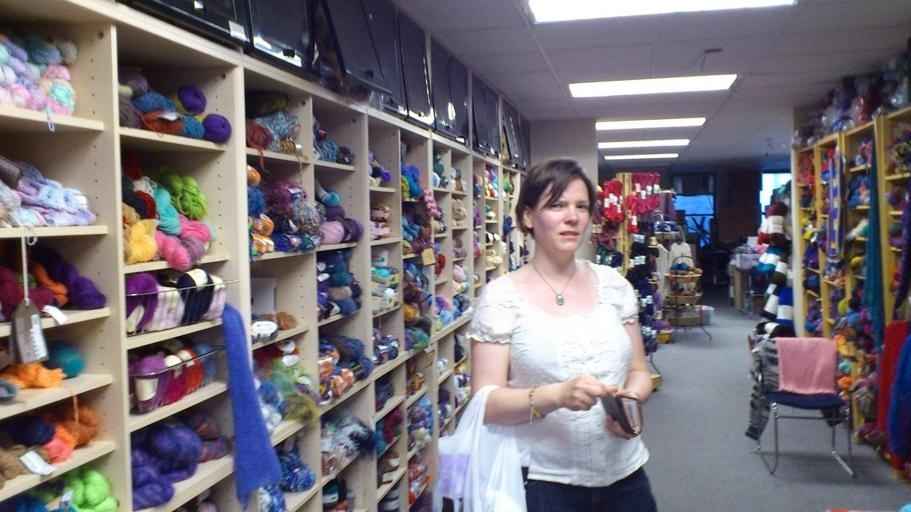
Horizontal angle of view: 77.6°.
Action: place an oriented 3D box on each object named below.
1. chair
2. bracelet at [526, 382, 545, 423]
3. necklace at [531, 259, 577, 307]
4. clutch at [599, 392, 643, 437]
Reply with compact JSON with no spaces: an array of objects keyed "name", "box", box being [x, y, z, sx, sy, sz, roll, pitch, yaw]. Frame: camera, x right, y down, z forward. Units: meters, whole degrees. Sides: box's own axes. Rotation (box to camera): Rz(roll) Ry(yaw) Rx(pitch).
[{"name":"chair","box":[3.204,1.252,5.205,0.803,1.033,1.536,7,11,32]},{"name":"bracelet","box":[0.316,0.588,2.270,0.105,0.119,0.048,0,3,-7]},{"name":"necklace","box":[0.409,0.119,2.411,0.225,0.178,0.007,2,-21,-12]},{"name":"clutch","box":[0.673,0.632,2.313,0.177,0.201,0.143,2,10,7]}]
